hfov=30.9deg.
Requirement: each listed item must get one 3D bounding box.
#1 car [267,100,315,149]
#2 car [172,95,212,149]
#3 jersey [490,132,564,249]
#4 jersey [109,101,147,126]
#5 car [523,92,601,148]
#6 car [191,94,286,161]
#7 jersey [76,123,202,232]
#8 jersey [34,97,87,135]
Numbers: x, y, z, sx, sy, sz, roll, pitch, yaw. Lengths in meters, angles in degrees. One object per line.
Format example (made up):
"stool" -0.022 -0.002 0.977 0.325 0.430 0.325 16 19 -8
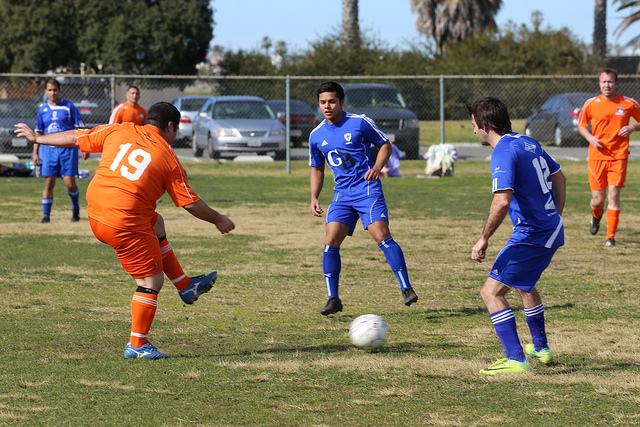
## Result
"car" -1.033 -2.722 33.952 2.086 0.963 1.198 1 1 -34
"car" -3.974 -2.897 35.425 1.220 0.990 2.886 -1 11 1
"jersey" 2.968 -0.331 16.715 1.056 1.662 0.328 -2 4 -20
"jersey" -4.076 -2.148 24.580 0.638 0.483 0.942 0 4 12
"car" 7.302 -2.656 33.709 1.593 1.445 3.364 -2 11 -10
"car" -2.334 -2.372 31.082 1.457 1.152 2.495 -1 1 -17
"jersey" -2.962 -0.520 18.563 2.244 1.314 0.798 24 39 6
"jersey" -5.193 -1.951 23.047 0.934 0.641 0.468 -1 4 -7
